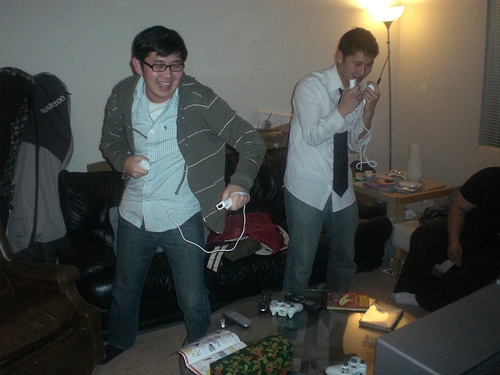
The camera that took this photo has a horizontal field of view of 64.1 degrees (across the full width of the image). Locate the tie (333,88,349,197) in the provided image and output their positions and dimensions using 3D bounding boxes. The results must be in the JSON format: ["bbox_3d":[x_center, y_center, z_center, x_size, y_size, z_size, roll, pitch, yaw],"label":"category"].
[{"bbox_3d":[0.506,-0.134,2.203,0.084,0.340,0.185,0,15,13],"label":"tie"}]

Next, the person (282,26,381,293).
[{"bbox_3d":[0.403,-0.112,2.235,0.780,1.451,0.376,-14,18,-35],"label":"person"}]

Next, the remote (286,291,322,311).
[{"bbox_3d":[0.258,0.544,1.973,0.209,0.054,0.064,11,18,43],"label":"remote"}]

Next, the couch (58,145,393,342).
[{"bbox_3d":[-0.128,0.287,3.081,2.276,0.993,0.951,-10,20,-22],"label":"couch"}]

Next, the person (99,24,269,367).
[{"bbox_3d":[-0.393,0.127,2.041,0.969,1.780,0.381,3,16,24],"label":"person"}]
